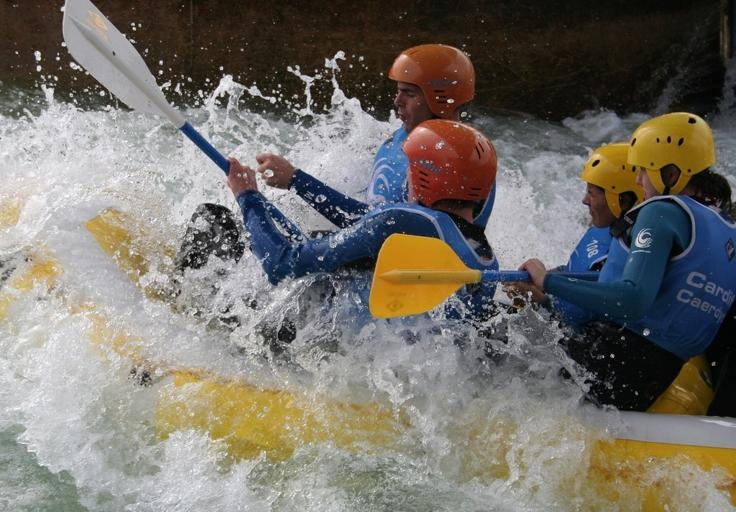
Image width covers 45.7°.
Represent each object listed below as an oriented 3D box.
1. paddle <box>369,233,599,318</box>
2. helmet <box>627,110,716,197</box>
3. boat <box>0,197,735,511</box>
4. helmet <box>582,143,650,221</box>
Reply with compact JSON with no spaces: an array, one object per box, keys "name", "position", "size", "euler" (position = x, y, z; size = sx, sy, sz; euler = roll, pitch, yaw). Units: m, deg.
[{"name":"paddle","position":[0.497,0.063,3.261],"size":[1.060,0.304,0.040],"euler":[-2,22,-24]},{"name":"helmet","position":[1.124,-0.401,3.300],"size":[0.322,0.267,0.243],"euler":[14,9,26]},{"name":"boat","position":[0.150,0.485,3.534],"size":[2.320,1.108,0.409],"euler":[9,6,9]},{"name":"helmet","position":[0.970,-0.318,3.463],"size":[0.292,0.274,0.226],"euler":[3,2,17]}]
